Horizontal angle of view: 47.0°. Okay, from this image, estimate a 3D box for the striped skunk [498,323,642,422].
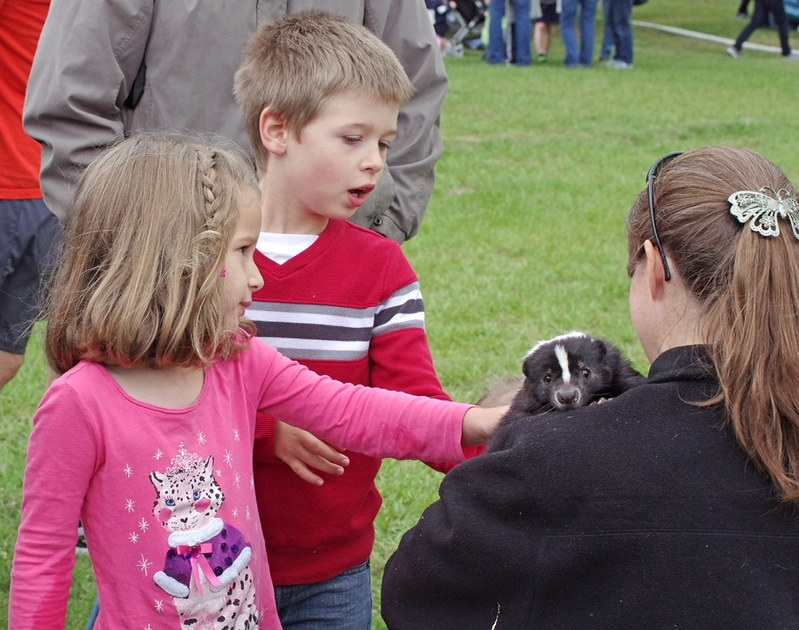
[{"bbox_3d":[0.687,0.235,3.650,0.341,0.201,0.473,-28,-2,11],"label":"striped skunk"}]
